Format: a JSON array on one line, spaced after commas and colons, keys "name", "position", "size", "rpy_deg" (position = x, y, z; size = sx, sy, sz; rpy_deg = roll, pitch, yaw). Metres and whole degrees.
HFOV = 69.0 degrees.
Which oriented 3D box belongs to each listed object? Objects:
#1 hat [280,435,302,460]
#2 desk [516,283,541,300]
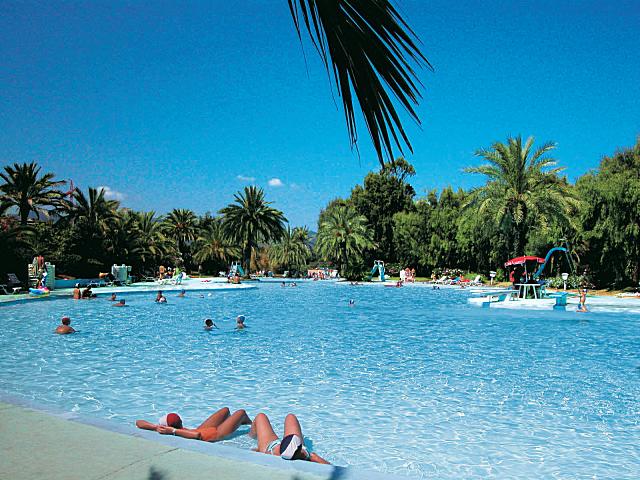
[{"name": "hat", "position": [-0.327, 2.242, 5.051], "size": [0.194, 0.264, 0.121], "rpy_deg": [1, -4, 21]}, {"name": "desk", "position": [11.014, 2.689, 24.605], "size": [1.015, 0.616, 0.997], "rpy_deg": [1, 1, -38]}]
